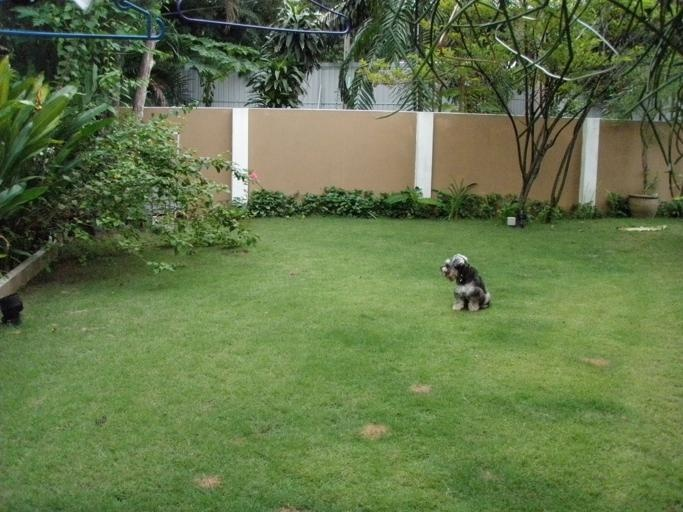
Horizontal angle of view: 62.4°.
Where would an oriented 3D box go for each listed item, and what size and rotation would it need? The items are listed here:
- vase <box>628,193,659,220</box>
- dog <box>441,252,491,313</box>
[{"bbox_3d":[6.677,-1.085,12.475,0.514,0.459,0.508,5,3,1],"label":"vase"},{"bbox_3d":[1.297,0.266,5.868,0.506,0.571,0.237,3,13,12],"label":"dog"}]
